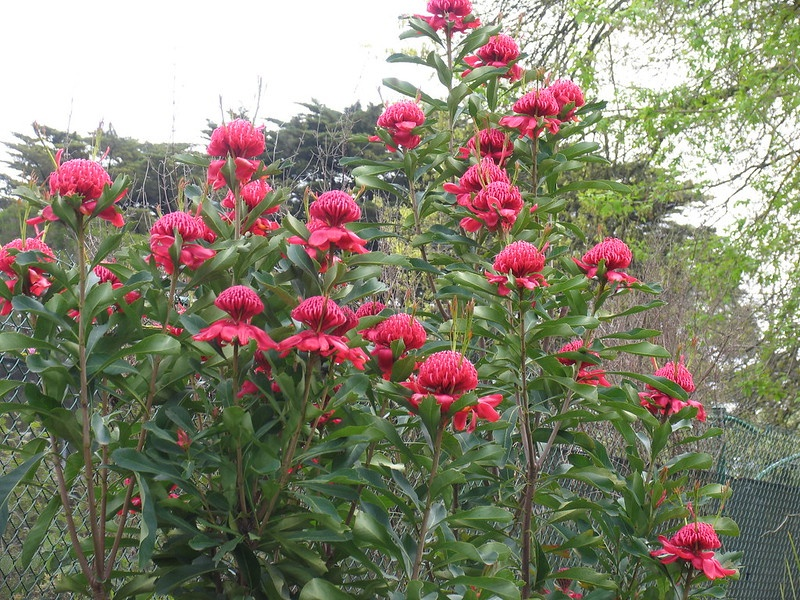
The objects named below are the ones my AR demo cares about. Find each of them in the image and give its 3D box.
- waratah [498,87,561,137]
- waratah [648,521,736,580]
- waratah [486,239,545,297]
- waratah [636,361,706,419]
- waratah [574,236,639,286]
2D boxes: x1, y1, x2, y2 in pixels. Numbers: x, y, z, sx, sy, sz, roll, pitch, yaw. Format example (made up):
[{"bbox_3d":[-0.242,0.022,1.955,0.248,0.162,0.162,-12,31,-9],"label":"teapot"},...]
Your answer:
[{"bbox_3d":[0.713,-1.051,4.220,0.257,0.278,0.275,5,20,21],"label":"waratah"},{"bbox_3d":[1.593,1.323,4.155,0.408,0.264,0.386,16,1,21],"label":"waratah"},{"bbox_3d":[0.575,-0.143,3.851,0.251,0.276,0.252,-4,-4,-37],"label":"waratah"},{"bbox_3d":[1.583,0.476,4.488,0.368,0.276,0.376,3,1,-30],"label":"waratah"},{"bbox_3d":[1.098,-0.202,4.026,0.237,0.189,0.248,13,10,29],"label":"waratah"}]
